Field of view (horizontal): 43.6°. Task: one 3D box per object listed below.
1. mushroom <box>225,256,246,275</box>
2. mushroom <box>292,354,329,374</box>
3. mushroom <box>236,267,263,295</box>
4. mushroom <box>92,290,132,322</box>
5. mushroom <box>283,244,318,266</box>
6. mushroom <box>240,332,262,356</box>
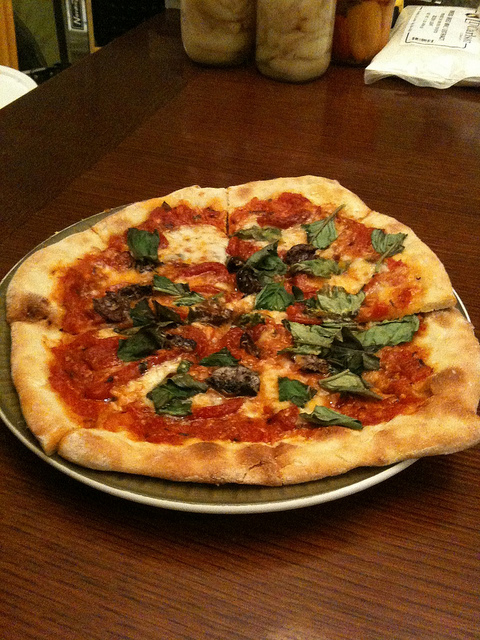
[{"bbox_3d":[-0.011,-0.155,1.670,0.047,0.029,0.053,-20,41,-9],"label":"mushroom"},{"bbox_3d":[0.158,0.092,1.301,0.065,0.013,0.036,23,51,19],"label":"mushroom"},{"bbox_3d":[0.023,-0.100,1.571,0.065,0.021,0.068,-10,70,-10],"label":"mushroom"},{"bbox_3d":[-0.311,-0.033,1.458,0.082,0.018,0.068,-4,53,-11],"label":"mushroom"},{"bbox_3d":[0.166,-0.183,1.642,0.081,0.060,0.026,-26,48,20],"label":"mushroom"},{"bbox_3d":[0.023,0.056,1.385,0.042,0.016,0.049,-13,57,-28],"label":"mushroom"}]
